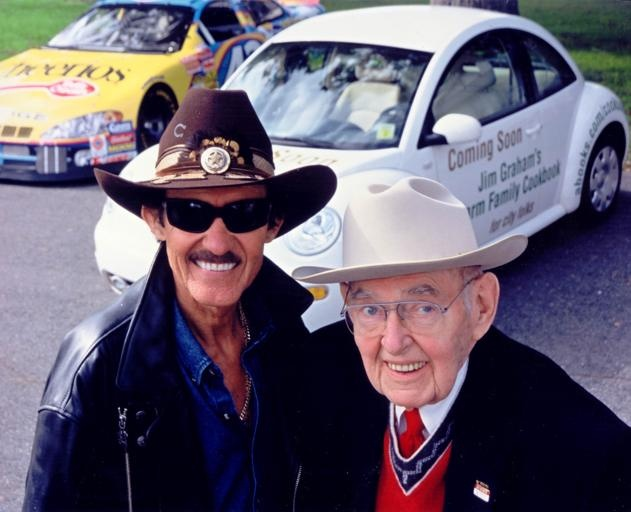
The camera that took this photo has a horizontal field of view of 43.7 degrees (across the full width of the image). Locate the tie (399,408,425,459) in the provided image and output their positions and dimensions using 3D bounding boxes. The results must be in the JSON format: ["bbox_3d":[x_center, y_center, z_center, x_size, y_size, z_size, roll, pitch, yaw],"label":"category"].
[{"bbox_3d":[0.418,0.751,3.384,0.107,0.196,0.049,22,14,24],"label":"tie"}]

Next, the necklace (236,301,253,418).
[{"bbox_3d":[-0.321,0.471,3.534,0.047,0.495,0.062,1,-4,-11],"label":"necklace"}]

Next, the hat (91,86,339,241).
[{"bbox_3d":[-0.389,-0.438,3.336,0.592,0.377,0.788,1,-3,8],"label":"hat"}]
